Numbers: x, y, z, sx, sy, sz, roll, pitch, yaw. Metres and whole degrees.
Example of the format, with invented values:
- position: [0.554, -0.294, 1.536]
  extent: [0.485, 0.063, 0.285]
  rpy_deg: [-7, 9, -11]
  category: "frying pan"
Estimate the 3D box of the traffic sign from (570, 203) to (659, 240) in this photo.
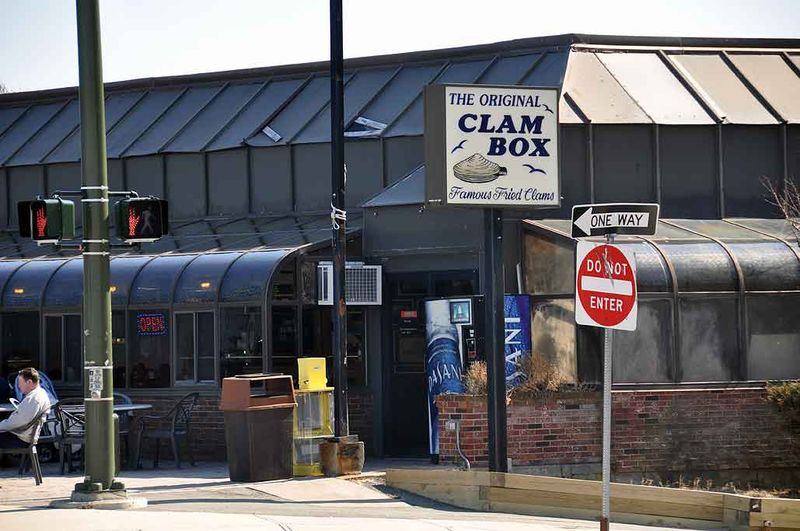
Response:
- position: [3.887, -0.836, 29.301]
  extent: [1.554, 0.647, 0.502]
  rpy_deg: [-5, -8, 13]
  category: "traffic sign"

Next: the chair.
- position: [-6.185, 3.497, 34.934]
  extent: [2.268, 2.753, 1.615]
  rpy_deg: [0, -6, -3]
  category: "chair"

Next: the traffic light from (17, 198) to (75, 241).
- position: [-6.755, -0.888, 30.875]
  extent: [1.001, 0.872, 0.362]
  rpy_deg: [-3, -7, -4]
  category: "traffic light"

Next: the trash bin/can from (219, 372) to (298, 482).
- position: [-3.087, 3.383, 33.624]
  extent: [1.529, 2.253, 1.364]
  rpy_deg: [6, -10, -40]
  category: "trash bin/can"
